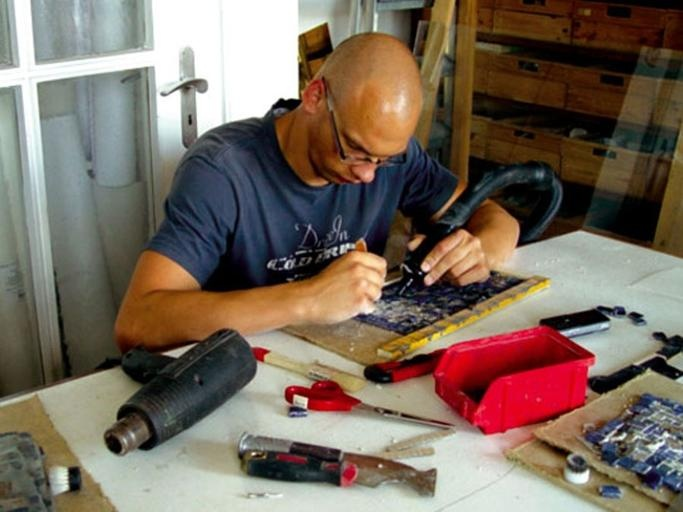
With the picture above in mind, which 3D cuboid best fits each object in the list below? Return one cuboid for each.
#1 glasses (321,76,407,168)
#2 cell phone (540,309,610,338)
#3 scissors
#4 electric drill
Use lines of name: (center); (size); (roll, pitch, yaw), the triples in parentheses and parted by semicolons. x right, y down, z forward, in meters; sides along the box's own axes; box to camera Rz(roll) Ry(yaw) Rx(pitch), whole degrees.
glasses: (0.026, -0.306, 1.527); (0.062, 0.227, 0.232); (-14, -6, 33)
cell phone: (0.565, 0.146, 1.440); (0.155, 0.025, 0.078); (-8, 26, -16)
scissors: (0.046, 0.297, 1.181); (0.292, 0.029, 0.116); (10, 14, 18)
electric drill: (-0.322, 0.264, 1.183); (0.122, 0.117, 0.309); (-19, 7, 42)
